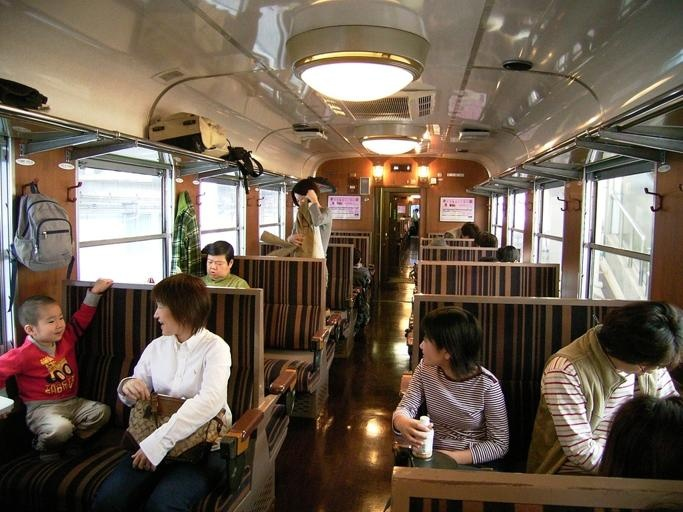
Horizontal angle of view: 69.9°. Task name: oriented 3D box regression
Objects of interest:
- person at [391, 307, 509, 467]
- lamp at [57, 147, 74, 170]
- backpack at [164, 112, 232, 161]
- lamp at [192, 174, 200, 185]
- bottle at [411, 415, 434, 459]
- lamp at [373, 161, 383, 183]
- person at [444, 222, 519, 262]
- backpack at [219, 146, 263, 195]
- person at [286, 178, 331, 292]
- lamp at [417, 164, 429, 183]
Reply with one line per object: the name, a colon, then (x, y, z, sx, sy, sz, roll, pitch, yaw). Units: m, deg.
person: (0.596, 0.744, 2.658, 0.638, 0.801, 0.535, 4, -2, 29)
lamp: (-2.137, -0.756, 3.817, 0.152, 0.166, 0.155, 6, 8, 41)
backpack: (-1.375, -1.172, 4.812, 0.349, 0.369, 0.728, 4, 8, 22)
lamp: (-1.704, -0.897, 5.740, 0.123, 0.123, 0.030, 6, -9, -29)
bottle: (0.388, 0.846, 2.286, 0.108, 0.204, 0.082, 0, 8, -5)
lamp: (0.821, -1.884, 11.032, 0.262, 0.501, 0.121, 1, 8, 2)
person: (2.118, -0.210, 7.350, 0.497, 0.412, 1.236, -16, 20, -18)
backpack: (-1.116, -1.001, 5.628, 0.236, 0.654, 0.395, -30, 49, -33)
person: (-0.388, -0.200, 5.713, 0.446, 1.390, 0.595, -11, 26, -43)
lamp: (1.801, -1.819, 10.861, 0.297, 0.424, 0.137, 2, 8, 9)
